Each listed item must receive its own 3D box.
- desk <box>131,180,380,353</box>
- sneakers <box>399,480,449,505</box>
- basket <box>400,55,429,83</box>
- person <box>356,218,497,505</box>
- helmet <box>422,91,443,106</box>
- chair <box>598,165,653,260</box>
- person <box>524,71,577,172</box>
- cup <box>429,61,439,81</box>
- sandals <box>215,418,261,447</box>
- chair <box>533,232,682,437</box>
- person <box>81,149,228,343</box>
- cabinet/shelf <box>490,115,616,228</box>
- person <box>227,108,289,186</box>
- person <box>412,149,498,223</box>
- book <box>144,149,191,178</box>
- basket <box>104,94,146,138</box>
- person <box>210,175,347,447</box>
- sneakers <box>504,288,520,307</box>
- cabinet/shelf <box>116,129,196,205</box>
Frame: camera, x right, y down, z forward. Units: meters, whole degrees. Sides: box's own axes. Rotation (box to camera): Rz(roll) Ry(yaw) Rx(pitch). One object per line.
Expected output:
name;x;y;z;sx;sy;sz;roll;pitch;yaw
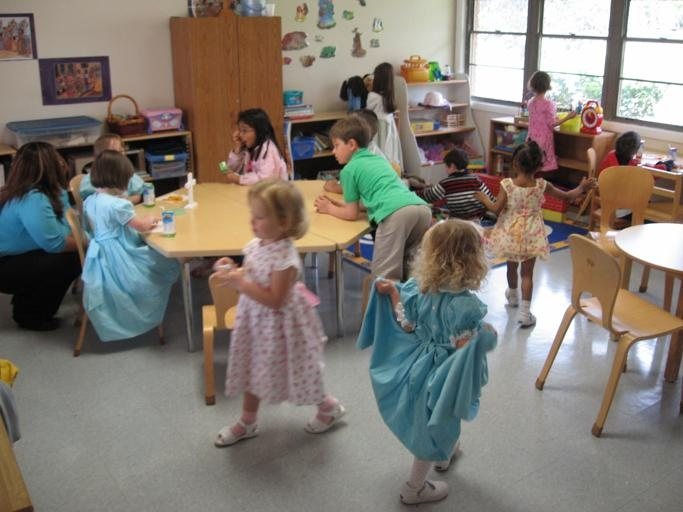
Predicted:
desk;-0.490;-0.185;4.197;1.253;0.788;1.620;-2;36;10
sneakers;0.381;1.059;2.505;0.214;0.107;0.102;-10;25;-14
basket;0.904;-2.267;6.566;0.334;0.363;0.335;-10;20;-27
person;0.351;0.357;2.317;0.584;0.987;0.375;2;18;7
helmet;1.147;-1.982;6.765;0.171;0.128;0.234;-7;24;-17
chair;2.162;-0.207;4.134;0.381;0.760;0.511;6;-21;26
person;2.238;-1.391;5.896;0.488;1.215;0.498;21;39;39
cup;1.176;-2.349;6.782;0.145;0.233;0.225;14;23;38
sandals;-0.554;0.924;2.843;0.214;0.099;0.110;-10;21;-27
chair;1.607;0.500;3.224;0.685;1.114;0.631;-12;25;-20
person;-1.413;-0.102;3.542;0.601;1.158;0.486;-7;19;-19
cabinet/shelf;2.044;-0.798;5.033;0.359;1.076;1.146;-11;21;-35
person;-0.722;-0.875;4.330;0.302;0.608;0.686;-17;24;-41
person;0.956;-0.619;4.540;0.754;0.594;0.544;-7;21;-1
book;-1.687;-0.906;5.208;0.241;0.190;0.338;-7;14;-28
basket;-2.050;-1.381;5.128;0.355;0.491;0.443;-14;25;-36
person;-0.329;0.320;2.601;0.650;1.372;0.287;0;17;0
sneakers;1.290;0.312;4.034;0.064;0.089;0.189;-2;10;1
cabinet/shelf;-1.799;-0.964;5.387;0.729;0.769;0.537;-12;18;-31
